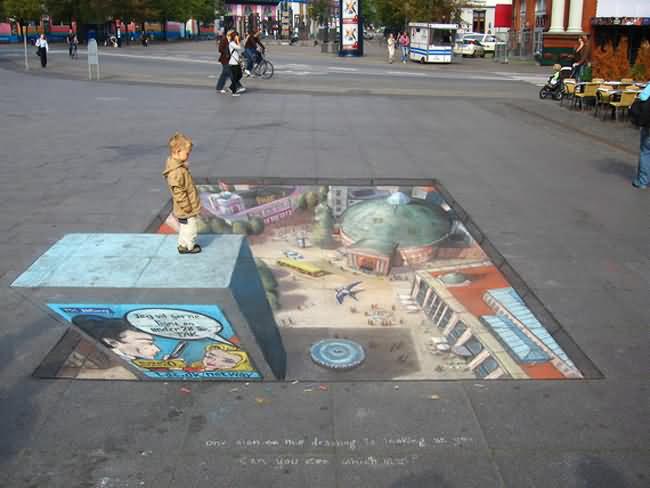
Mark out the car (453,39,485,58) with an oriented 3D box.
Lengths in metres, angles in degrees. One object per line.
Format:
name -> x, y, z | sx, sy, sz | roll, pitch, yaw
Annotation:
car -> 10.547, -14.289, 45.295 | 2.144, 1.205, 0.860 | -3, 14, -16

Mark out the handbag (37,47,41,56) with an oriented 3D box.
handbag -> -13.609, -9.151, 29.431 | 0.072, 0.352, 0.485 | -9, 17, -37

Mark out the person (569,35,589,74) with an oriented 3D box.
person -> 7.939, -5.836, 19.334 | 0.404, 1.242, 1.322 | 5, 15, 19

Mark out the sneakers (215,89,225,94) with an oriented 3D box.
sneakers -> -3.469, -5.051, 20.532 | 0.313, 0.138, 0.153 | 6, 51, -29

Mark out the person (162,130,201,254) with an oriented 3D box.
person -> -1.341, -0.481, 5.880 | 0.306, 1.077, 0.450 | -5, 14, -22

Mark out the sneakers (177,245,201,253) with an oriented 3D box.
sneakers -> -1.279, 0.067, 5.816 | 0.172, 0.077, 0.083 | -4, 19, -8

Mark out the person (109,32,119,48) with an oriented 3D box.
person -> -18.625, -17.900, 54.683 | 0.690, 1.065, 2.085 | -4, 15, -19
